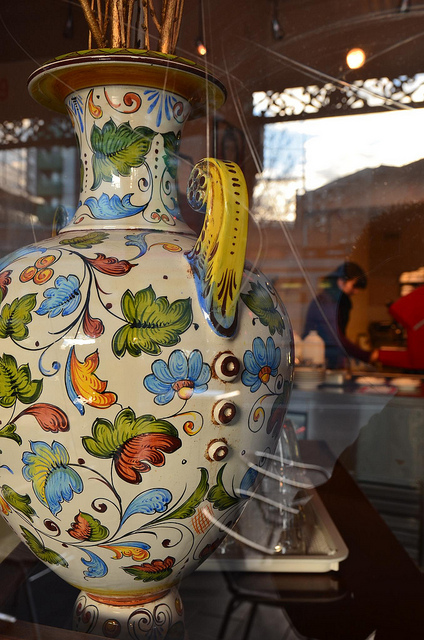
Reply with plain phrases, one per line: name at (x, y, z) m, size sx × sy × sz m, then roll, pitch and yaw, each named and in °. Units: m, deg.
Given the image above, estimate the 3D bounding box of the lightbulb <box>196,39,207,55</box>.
lightbulb at (-0.008, -0.198, 0.457) m, size 0.008 × 0.009 × 0.015 m, roll 0°, pitch 8°, yaw -8°
